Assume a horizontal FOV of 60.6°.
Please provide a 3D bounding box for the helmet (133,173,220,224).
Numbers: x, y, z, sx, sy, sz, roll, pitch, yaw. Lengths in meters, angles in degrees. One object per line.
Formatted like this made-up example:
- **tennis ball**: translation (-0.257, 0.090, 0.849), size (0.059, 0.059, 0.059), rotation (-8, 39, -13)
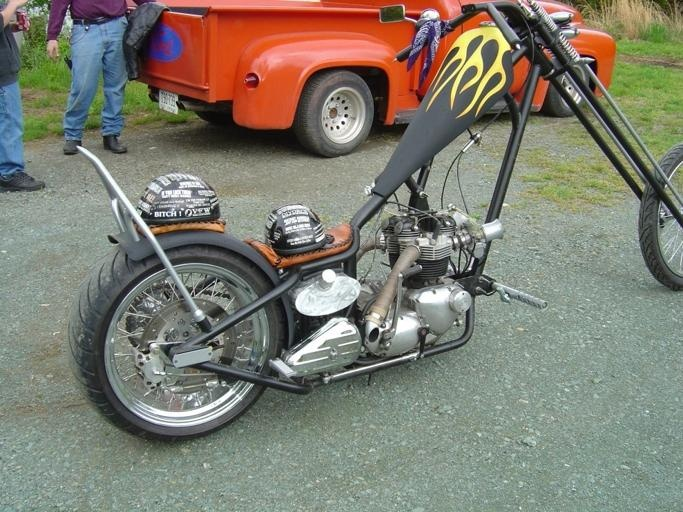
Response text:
- **helmet**: translation (-0.782, -0.270, 2.756), size (0.366, 0.167, 0.239), rotation (-8, 23, -19)

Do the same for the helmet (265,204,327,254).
- **helmet**: translation (-0.229, -0.121, 2.881), size (0.323, 0.162, 0.224), rotation (-8, 8, -28)
